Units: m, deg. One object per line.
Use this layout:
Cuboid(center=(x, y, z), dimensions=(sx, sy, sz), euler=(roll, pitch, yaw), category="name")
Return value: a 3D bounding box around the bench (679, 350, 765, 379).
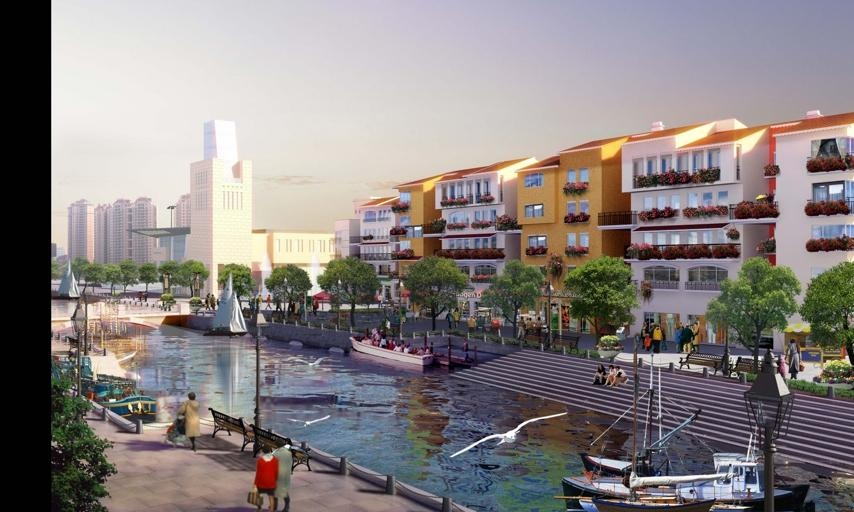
Cuboid(center=(21.602, 7.958, 59.887), dimensions=(2.037, 1.418, 6.050), euler=(1, -2, -32), category="bench")
